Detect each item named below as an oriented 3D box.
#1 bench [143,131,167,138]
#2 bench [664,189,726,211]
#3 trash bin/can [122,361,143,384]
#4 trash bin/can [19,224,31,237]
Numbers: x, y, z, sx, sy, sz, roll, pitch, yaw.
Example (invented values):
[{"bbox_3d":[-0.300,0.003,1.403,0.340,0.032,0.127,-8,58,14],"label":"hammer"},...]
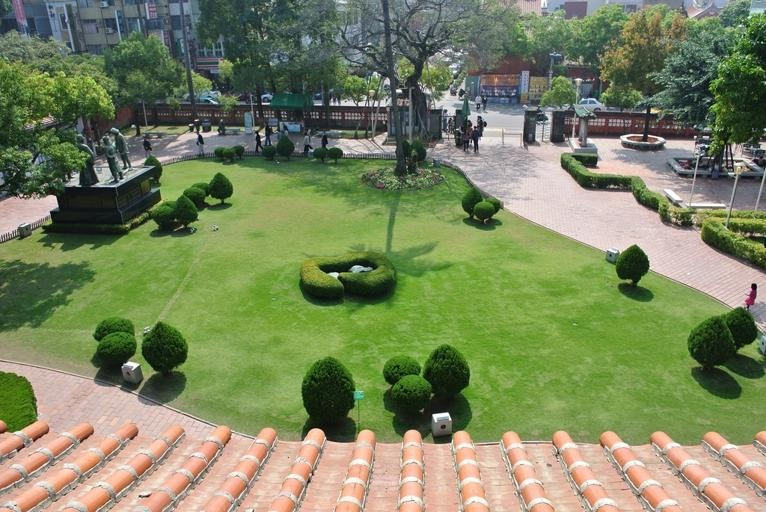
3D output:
[{"bbox_3d":[-22.355,-11.986,49.557,1.739,0.470,2.632,-6,22,-14],"label":"bench"},{"bbox_3d":[18.398,-3.064,29.149,1.818,0.407,1.761,1,25,9],"label":"bench"},{"bbox_3d":[-9.090,4.223,18.053,0.626,0.769,0.436,-2,31,-8],"label":"trash bin/can"},{"bbox_3d":[-19.417,-1.361,27.068,0.386,0.545,0.597,12,18,24],"label":"trash bin/can"}]
